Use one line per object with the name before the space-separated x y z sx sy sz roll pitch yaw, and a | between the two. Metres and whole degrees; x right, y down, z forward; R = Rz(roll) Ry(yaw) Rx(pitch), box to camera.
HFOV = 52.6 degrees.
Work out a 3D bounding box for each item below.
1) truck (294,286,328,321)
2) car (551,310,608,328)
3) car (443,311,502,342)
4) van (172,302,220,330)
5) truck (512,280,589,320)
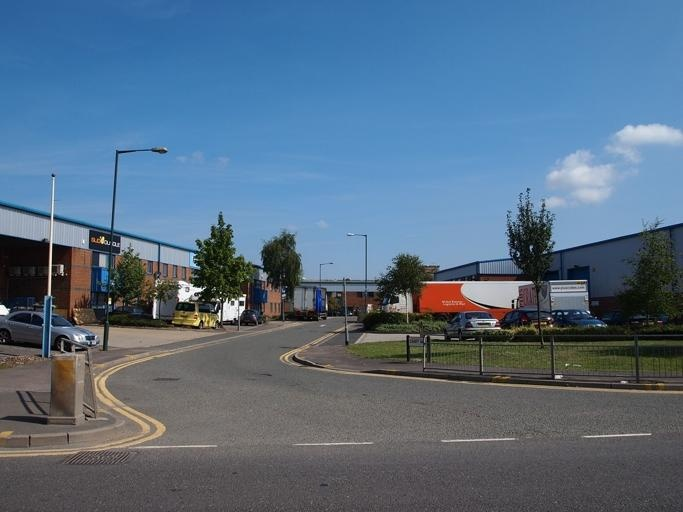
truck | -3.486 5.012 73.060 2.177 2.569 4.683 0 -2 6
car | 12.409 3.415 36.868 1.421 1.146 2.345 1 -10 -14
car | 6.298 3.347 33.344 1.896 1.411 4.043 0 -8 -12
van | -10.421 4.327 49.850 1.614 1.479 2.903 0 -3 23
truck | 12.173 2.536 42.924 4.887 2.731 3.097 -2 -4 42
